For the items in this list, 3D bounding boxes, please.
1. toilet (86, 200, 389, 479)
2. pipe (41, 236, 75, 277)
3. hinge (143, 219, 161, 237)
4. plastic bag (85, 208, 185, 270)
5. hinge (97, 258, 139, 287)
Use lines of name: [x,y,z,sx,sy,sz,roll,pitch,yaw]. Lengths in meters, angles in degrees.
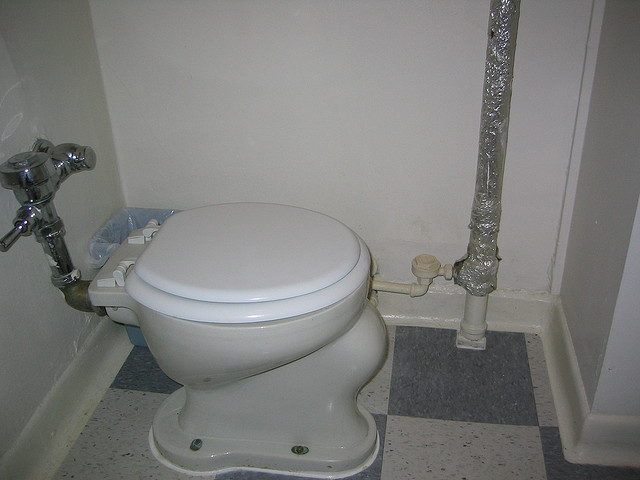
toilet: [-0.111,0.188,1.267,0.700,0.553,0.520,1,35,-1]
pipe: [-0.579,0.040,1.118,0.047,0.090,0.018,-20,34,-30]
hinge: [-0.397,-0.028,1.186,0.044,0.018,0.028,-11,51,16]
plastic bag: [-0.513,-0.006,1.432,0.225,0.078,0.168,0,57,1]
hinge: [-0.431,0.070,1.092,0.080,0.029,0.062,0,33,-3]
